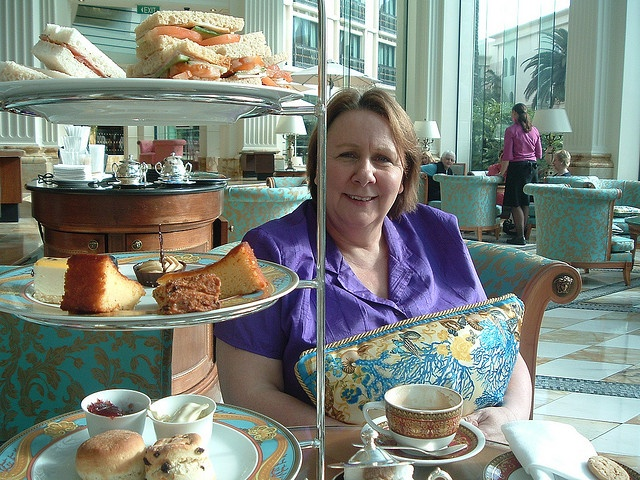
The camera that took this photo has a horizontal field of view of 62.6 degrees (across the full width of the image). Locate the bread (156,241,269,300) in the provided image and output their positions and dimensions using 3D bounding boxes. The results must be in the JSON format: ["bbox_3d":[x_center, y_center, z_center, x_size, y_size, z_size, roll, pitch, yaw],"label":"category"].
[{"bbox_3d":[-0.112,0.037,0.668,0.082,0.028,0.083,3,19,37],"label":"bread"}]

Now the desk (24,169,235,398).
[{"bbox_3d":[-0.778,0.172,2.926,1.199,1.151,1.146,0,6,-6],"label":"desk"}]

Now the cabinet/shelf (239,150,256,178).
[{"bbox_3d":[-1.278,-1.350,9.366,0.422,0.536,0.417,-1,11,-5],"label":"cabinet/shelf"}]

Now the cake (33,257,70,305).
[{"bbox_3d":[-0.326,0.051,0.636,0.049,0.040,0.026,3,10,-18],"label":"cake"}]

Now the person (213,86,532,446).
[{"bbox_3d":[0.138,0.058,1.332,0.863,0.795,0.500,-3,8,-24],"label":"person"}]

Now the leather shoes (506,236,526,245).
[{"bbox_3d":[2.472,0.001,6.738,0.113,0.114,0.297,-2,-1,-33],"label":"leather shoes"}]

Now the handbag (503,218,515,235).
[{"bbox_3d":[2.731,-0.202,7.611,0.128,0.142,0.375,4,14,15],"label":"handbag"}]

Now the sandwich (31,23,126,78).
[{"bbox_3d":[-0.310,-0.233,0.686,0.040,0.042,0.134,24,0,8],"label":"sandwich"}]

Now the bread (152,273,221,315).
[{"bbox_3d":[-0.162,0.059,0.605,0.054,0.016,0.053,-7,26,-25],"label":"bread"}]

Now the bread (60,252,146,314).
[{"bbox_3d":[-0.270,0.031,0.659,0.061,0.071,0.108,4,3,25],"label":"bread"}]

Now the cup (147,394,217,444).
[{"bbox_3d":[-0.171,0.213,0.677,0.067,0.038,0.066,2,2,0],"label":"cup"}]

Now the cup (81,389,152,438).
[{"bbox_3d":[-0.268,0.222,0.688,0.068,0.037,0.068,9,5,-1],"label":"cup"}]

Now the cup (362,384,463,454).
[{"bbox_3d":[0.154,0.264,0.799,0.115,0.055,0.091,-3,5,12],"label":"cup"}]
